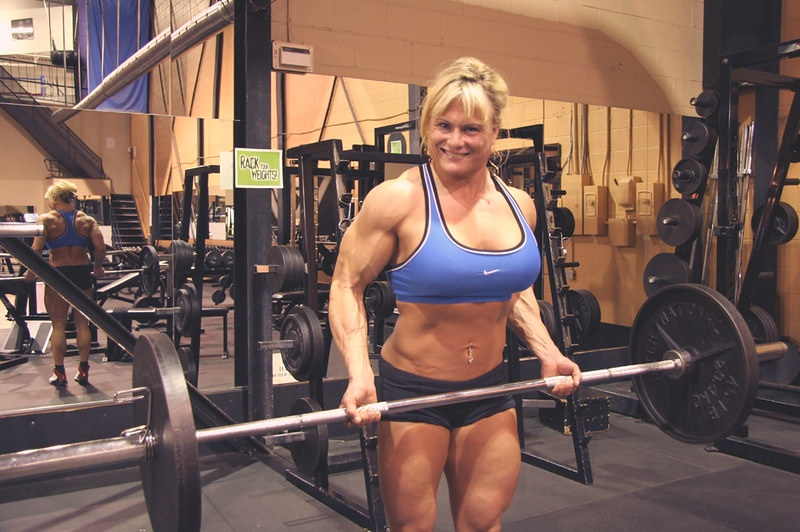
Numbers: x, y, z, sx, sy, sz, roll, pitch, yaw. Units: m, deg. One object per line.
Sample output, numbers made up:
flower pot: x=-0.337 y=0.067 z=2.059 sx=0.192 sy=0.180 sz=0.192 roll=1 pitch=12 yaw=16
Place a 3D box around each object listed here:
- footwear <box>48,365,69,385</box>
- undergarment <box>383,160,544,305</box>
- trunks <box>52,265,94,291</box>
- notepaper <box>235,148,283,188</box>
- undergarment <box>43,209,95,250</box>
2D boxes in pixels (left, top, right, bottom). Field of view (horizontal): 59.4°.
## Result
footwear: x=-2.393 y=0.792 z=5.003 sx=0.152 sy=0.159 sz=0.072 roll=2 pitch=-8 yaw=2
undergarment: x=0.303 y=-0.145 z=3.054 sx=0.634 sy=0.646 sz=0.373 roll=1 pitch=-2 yaw=-26
trunks: x=-2.418 y=0.066 z=5.202 sx=0.231 sy=0.290 sz=0.397 roll=-2 pitch=3 yaw=-39
notepaper: x=-1.012 y=-0.691 z=4.949 sx=0.261 sy=0.236 sz=0.038 roll=-2 pitch=5 yaw=-22
undergarment: x=-2.423 y=-0.270 z=5.172 sx=0.274 sy=0.357 sz=0.186 roll=-3 pitch=21 yaw=-25
